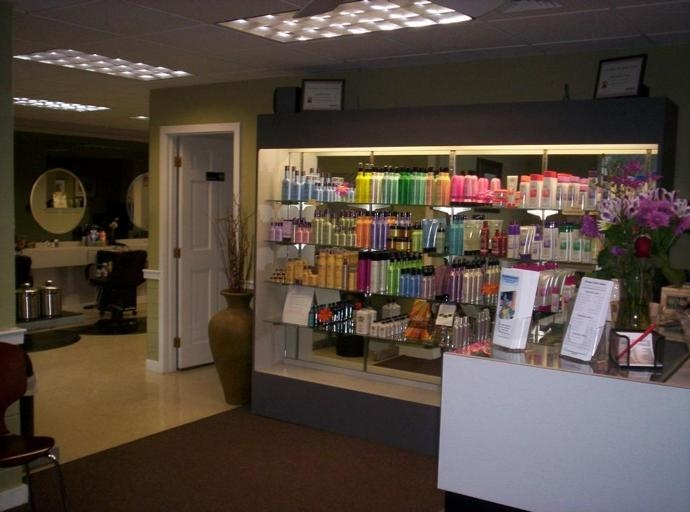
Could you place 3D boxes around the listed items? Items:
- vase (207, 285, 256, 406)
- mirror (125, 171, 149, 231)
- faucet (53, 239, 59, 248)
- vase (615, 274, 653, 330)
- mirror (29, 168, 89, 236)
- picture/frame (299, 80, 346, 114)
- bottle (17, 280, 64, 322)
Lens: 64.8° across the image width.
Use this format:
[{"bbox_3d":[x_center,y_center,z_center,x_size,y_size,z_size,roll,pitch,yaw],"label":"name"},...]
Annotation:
[{"bbox_3d":[-1.117,0.948,5.482,0.505,1.146,0.360,2,6,8],"label":"vase"},{"bbox_3d":[-4.108,-1.062,10.726,0.381,1.129,0.255,0,7,-10],"label":"mirror"},{"bbox_3d":[-5.067,-0.220,9.552,0.084,0.118,0.263,-2,7,-27],"label":"faucet"},{"bbox_3d":[1.354,0.214,2.526,0.139,0.270,0.218,4,7,27],"label":"vase"},{"bbox_3d":[-5.133,-0.939,9.625,0.135,1.392,1.156,3,7,34],"label":"mirror"},{"bbox_3d":[-0.200,-1.478,5.077,0.405,0.352,0.043,1,-15,0],"label":"picture/frame"},{"bbox_3d":[-4.473,0.703,8.001,0.365,0.432,0.609,0,-1,-5],"label":"bottle"}]
